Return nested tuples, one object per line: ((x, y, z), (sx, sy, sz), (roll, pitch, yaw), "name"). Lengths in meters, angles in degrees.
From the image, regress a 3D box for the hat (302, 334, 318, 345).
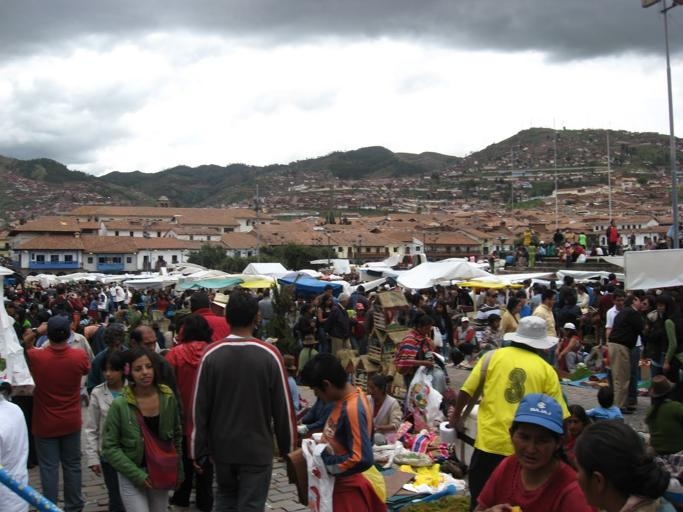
((-0.507, 1.334, 10.548), (0.191, 0.189, 0.225), (1, 4, 7), "hat")

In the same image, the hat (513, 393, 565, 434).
((1.329, 1.063, 4.470), (0.278, 0.218, 0.239), (-3, 0, -38), "hat")

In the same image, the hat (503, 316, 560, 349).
((1.665, 0.675, 5.706), (0.389, 0.137, 0.325), (0, 21, -5), "hat")

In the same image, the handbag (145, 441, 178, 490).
((-1.527, 1.790, 5.722), (0.296, 0.402, 0.128), (-3, 1, -28), "handbag")

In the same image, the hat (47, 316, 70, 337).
((-2.803, 0.686, 6.614), (0.205, 0.204, 0.204), (-3, 0, -22), "hat")

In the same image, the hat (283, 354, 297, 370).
((-0.697, 1.434, 8.962), (0.243, 0.074, 0.208), (12, 7, 6), "hat")

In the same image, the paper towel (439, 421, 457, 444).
((1.127, 1.883, 7.041), (0.173, 0.204, 0.358), (-2, 0, 9), "paper towel")

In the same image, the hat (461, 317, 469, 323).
((2.631, 1.366, 14.308), (0.212, 0.088, 0.303), (-2, -8, 7), "hat")

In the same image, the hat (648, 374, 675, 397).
((2.930, 1.199, 6.129), (0.205, 0.084, 0.239), (-18, 5, 13), "hat")
